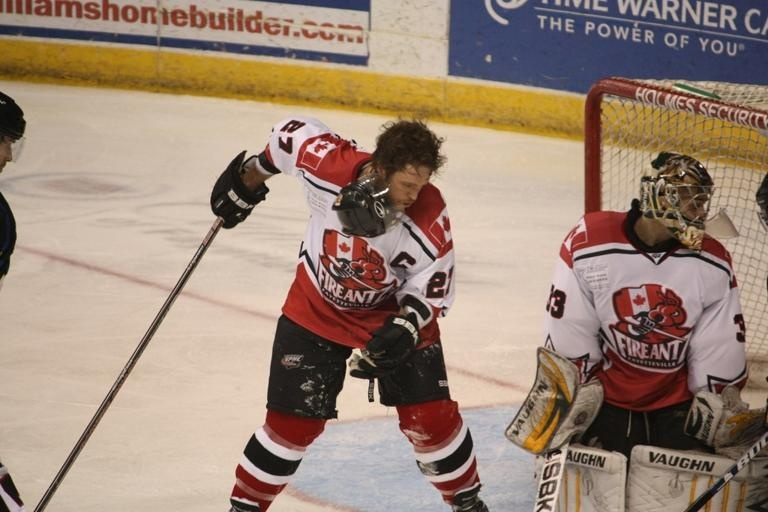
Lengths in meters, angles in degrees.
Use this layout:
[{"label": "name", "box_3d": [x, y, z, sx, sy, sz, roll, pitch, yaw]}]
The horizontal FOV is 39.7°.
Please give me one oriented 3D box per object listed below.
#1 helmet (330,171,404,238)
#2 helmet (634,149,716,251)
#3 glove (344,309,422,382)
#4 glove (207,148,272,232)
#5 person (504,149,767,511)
[{"label": "helmet", "box_3d": [-0.090, -0.218, 4.578, 0.297, 0.269, 0.282, -10, 6, 11]}, {"label": "helmet", "box_3d": [1.231, -0.242, 4.513, 0.335, 0.341, 0.311, 8, 0, 22]}, {"label": "glove", "box_3d": [0.021, 0.389, 4.564, 0.234, 0.125, 0.304, 16, 47, 42]}, {"label": "glove", "box_3d": [-0.681, -0.331, 5.056, 0.283, 0.328, 0.363, 46, 10, -3]}, {"label": "person", "box_3d": [1.086, 0.309, 4.429, 1.066, 1.445, 0.537, 5, 15, 5]}]
